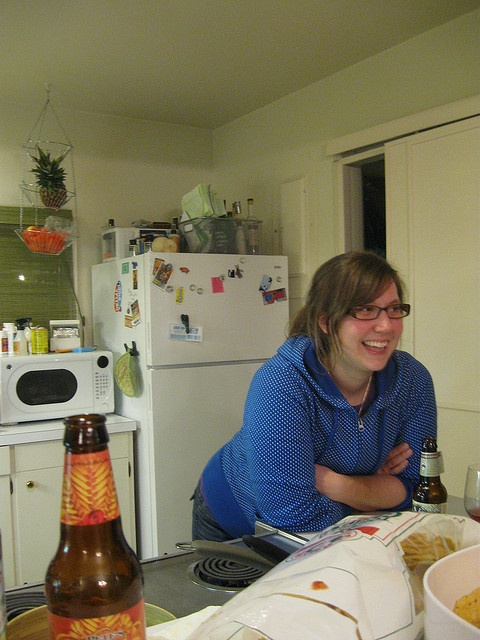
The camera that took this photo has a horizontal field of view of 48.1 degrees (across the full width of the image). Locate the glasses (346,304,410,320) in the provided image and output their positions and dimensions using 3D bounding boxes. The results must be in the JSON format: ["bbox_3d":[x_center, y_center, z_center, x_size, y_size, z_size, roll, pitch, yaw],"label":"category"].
[{"bbox_3d":[0.269,-0.015,1.048,0.112,0.024,0.035,-3,1,-21],"label":"glasses"}]

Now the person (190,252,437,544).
[{"bbox_3d":[0.133,0.211,1.187,0.496,0.679,0.464,0,3,-6],"label":"person"}]

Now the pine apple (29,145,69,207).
[{"bbox_3d":[-0.922,-0.677,2.622,0.177,0.237,0.162,2,15,10],"label":"pine apple"}]

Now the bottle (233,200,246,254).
[{"bbox_3d":[-0.005,-0.503,2.955,0.063,0.243,0.112,-4,1,0],"label":"bottle"}]

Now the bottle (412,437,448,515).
[{"bbox_3d":[0.255,0.213,0.730,0.043,0.128,0.160,-3,1,19],"label":"bottle"}]

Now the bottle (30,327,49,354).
[{"bbox_3d":[-1.084,0.108,2.914,0.093,0.140,0.203,-4,1,-20],"label":"bottle"}]

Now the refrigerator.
[{"bbox_3d":[-0.299,0.446,3.088,0.880,1.581,0.776,-2,0,-35],"label":"refrigerator"}]

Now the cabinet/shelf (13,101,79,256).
[{"bbox_3d":[-1.104,-0.805,3.007,0.255,0.949,0.281,2,4,-39],"label":"cabinet/shelf"}]

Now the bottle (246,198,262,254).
[{"bbox_3d":[0.074,-0.526,3.058,0.088,0.267,0.281,-4,1,2],"label":"bottle"}]
